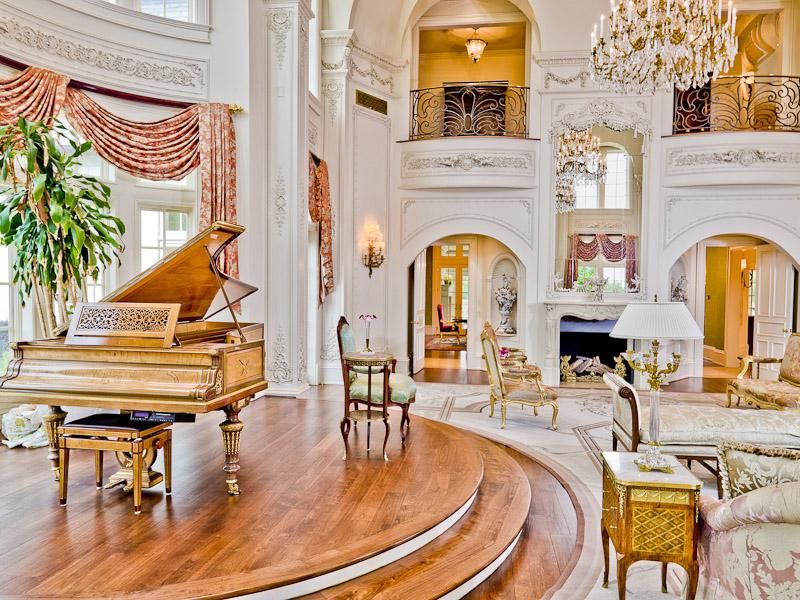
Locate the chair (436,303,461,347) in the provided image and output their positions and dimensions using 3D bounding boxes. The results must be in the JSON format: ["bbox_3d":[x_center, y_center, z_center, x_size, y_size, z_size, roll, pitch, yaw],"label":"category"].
[{"bbox_3d":[1.375,0.767,18.646,0.900,1.666,1.005,-2,2,5],"label":"chair"}]

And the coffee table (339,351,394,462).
[{"bbox_3d":[-0.354,1.066,6.834,0.552,1.070,1.240,0,9,-1],"label":"coffee table"}]

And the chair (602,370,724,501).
[{"bbox_3d":[2.792,1.368,6.905,1.139,1.238,1.224,-1,-2,10],"label":"chair"}]

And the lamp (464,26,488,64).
[{"bbox_3d":[1.508,-5.259,13.193,0.458,0.896,0.484,0,-3,-3],"label":"lamp"}]

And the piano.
[{"bbox_3d":[-2.422,0.569,6.469,1.888,2.738,2.698,-1,-4,8],"label":"piano"}]

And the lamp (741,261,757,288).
[{"bbox_3d":[7.351,-0.534,13.478,0.263,0.622,0.254,9,13,44],"label":"lamp"}]

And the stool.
[{"bbox_3d":[-2.394,1.144,5.452,0.930,0.906,0.718,2,4,20],"label":"stool"}]

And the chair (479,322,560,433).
[{"bbox_3d":[1.608,1.054,9.284,1.214,1.816,1.334,-1,0,-3],"label":"chair"}]

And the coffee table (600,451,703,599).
[{"bbox_3d":[1.877,1.755,4.862,0.682,1.050,0.604,3,10,18],"label":"coffee table"}]

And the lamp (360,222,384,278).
[{"bbox_3d":[-0.460,-0.915,11.520,0.306,1.050,0.588,5,11,31],"label":"lamp"}]
